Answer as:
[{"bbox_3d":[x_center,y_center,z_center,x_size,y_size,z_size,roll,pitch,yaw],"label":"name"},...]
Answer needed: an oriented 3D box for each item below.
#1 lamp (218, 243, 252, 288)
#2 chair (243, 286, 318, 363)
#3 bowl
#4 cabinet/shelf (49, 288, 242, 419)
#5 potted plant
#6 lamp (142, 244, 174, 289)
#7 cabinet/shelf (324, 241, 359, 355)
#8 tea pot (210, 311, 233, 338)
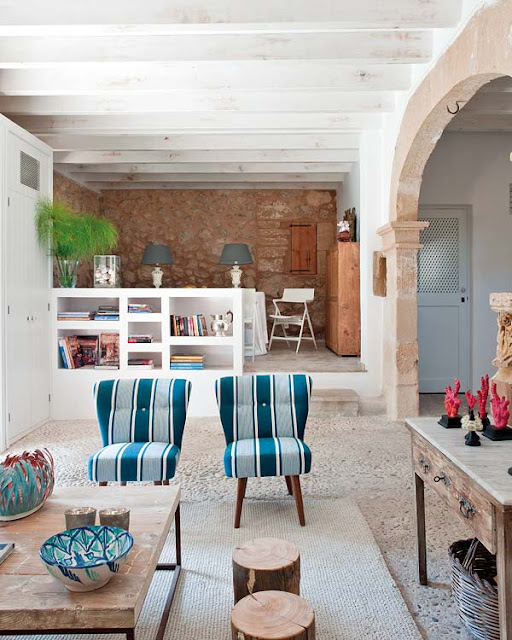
[{"bbox_3d":[-0.244,-0.653,6.683,0.439,0.524,0.432,-2,-5,14],"label":"lamp"},{"bbox_3d":[0.199,0.016,7.764,0.770,1.005,1.241,0,-2,24],"label":"chair"},{"bbox_3d":[-0.486,0.689,1.544,0.252,0.097,0.260,0,3,0],"label":"bowl"},{"bbox_3d":[-1.132,0.308,5.513,1.927,1.225,0.550,0,6,-9],"label":"cabinet/shelf"},{"bbox_3d":[-2.013,-0.767,5.437,1.025,0.928,0.922,-8,5,-25],"label":"potted plant"},{"bbox_3d":[-1.270,-0.663,6.843,0.417,0.546,0.410,-1,2,-22],"label":"lamp"},{"bbox_3d":[1.117,-0.264,6.840,0.352,1.250,1.325,0,-17,6],"label":"cabinet/shelf"},{"bbox_3d":[-0.301,0.045,5.504,0.174,0.291,0.290,-7,-11,44],"label":"tea pot"}]
